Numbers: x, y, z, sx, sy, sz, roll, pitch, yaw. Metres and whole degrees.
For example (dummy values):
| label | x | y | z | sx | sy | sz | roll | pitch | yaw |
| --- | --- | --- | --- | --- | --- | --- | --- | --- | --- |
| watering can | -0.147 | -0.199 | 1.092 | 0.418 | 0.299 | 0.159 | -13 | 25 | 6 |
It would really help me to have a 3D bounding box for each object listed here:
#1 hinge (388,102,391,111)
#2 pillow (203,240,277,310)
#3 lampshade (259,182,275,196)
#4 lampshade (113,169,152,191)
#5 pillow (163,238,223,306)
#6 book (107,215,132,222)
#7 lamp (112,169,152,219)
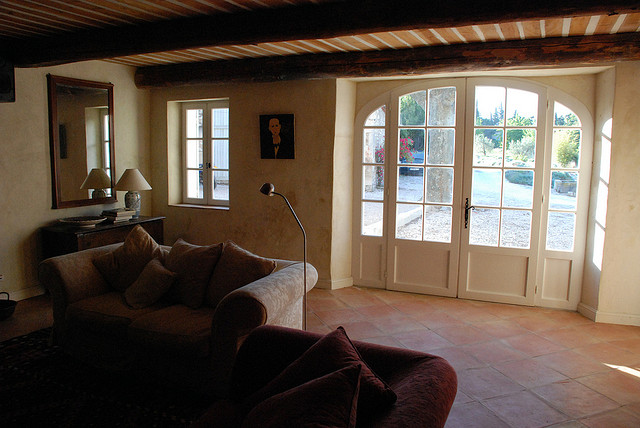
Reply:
| label | x | y | z | sx | sy | sz | roll | pitch | yaw |
| --- | --- | --- | --- | --- | --- | --- | --- | --- | --- |
| hinge | 0.979 | -1.580 | 6.219 | 0.042 | 0.105 | 0.009 | 5 | 8 | 15 |
| pillow | -0.787 | 0.617 | 4.326 | 0.565 | 0.595 | 0.323 | 7 | 9 | 27 |
| lampshade | -0.527 | -0.284 | 4.508 | 0.100 | 0.131 | 0.375 | 2 | 8 | -4 |
| lampshade | -2.696 | -0.515 | 6.406 | 0.375 | 0.240 | 0.365 | -1 | 4 | -21 |
| pillow | -1.386 | 0.614 | 4.629 | 0.809 | 0.631 | 0.380 | 3 | 6 | 42 |
| book | -2.833 | 0.026 | 6.308 | 0.314 | 0.079 | 0.139 | -3 | 10 | -35 |
| lamp | -2.802 | -0.339 | 6.612 | 0.620 | 0.744 | 0.571 | -2 | -2 | 18 |
